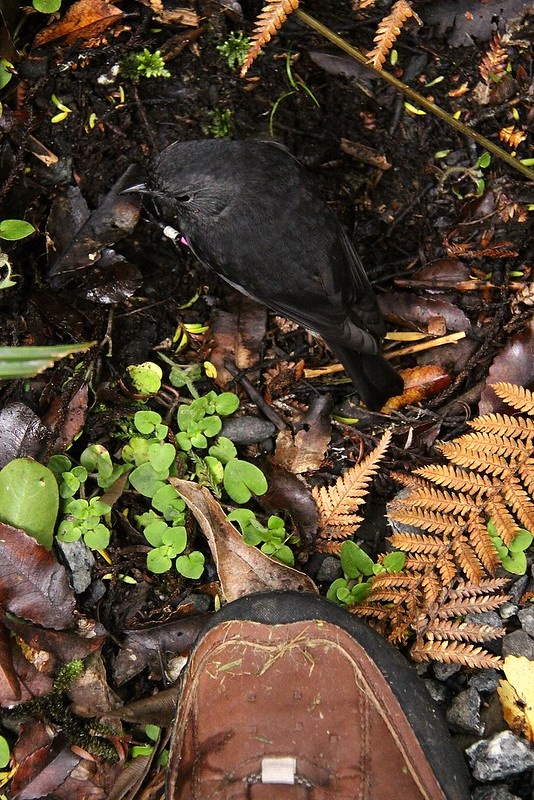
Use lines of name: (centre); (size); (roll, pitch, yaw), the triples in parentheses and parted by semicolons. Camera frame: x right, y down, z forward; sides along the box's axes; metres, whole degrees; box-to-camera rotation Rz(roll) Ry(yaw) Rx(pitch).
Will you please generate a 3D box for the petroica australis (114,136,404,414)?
petroica australis: (0.053, -0.461, 2.662); (0.906, 0.841, 0.357); (15, 39, 26)
